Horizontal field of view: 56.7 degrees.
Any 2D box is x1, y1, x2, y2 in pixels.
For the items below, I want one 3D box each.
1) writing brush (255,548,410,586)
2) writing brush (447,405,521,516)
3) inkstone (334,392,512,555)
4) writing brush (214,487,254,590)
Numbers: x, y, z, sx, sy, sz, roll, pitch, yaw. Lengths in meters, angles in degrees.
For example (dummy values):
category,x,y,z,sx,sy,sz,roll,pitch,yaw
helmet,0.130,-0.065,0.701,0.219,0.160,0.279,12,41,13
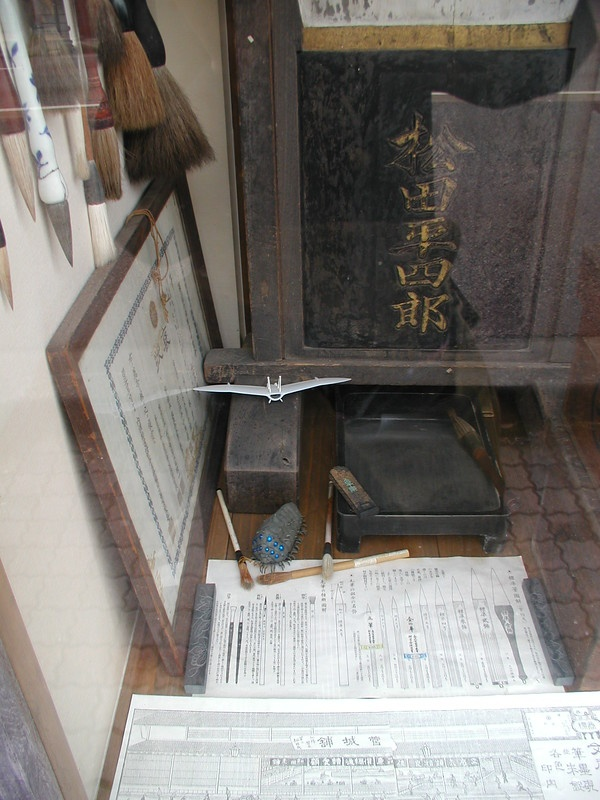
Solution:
category,x,y,z,sx,sy,sz,roll,pitch,yaw
writing brush,0.060,0.311,1.023,0.308,0.036,0.028,-5,62,-9
writing brush,0.322,0.095,1.014,0.046,0.252,0.044,-30,0,14
inkstone,0.209,0.116,1.019,0.274,0.084,0.306,0,65,2
writing brush,-0.133,0.262,1.076,0.040,0.032,0.224,-25,45,1
